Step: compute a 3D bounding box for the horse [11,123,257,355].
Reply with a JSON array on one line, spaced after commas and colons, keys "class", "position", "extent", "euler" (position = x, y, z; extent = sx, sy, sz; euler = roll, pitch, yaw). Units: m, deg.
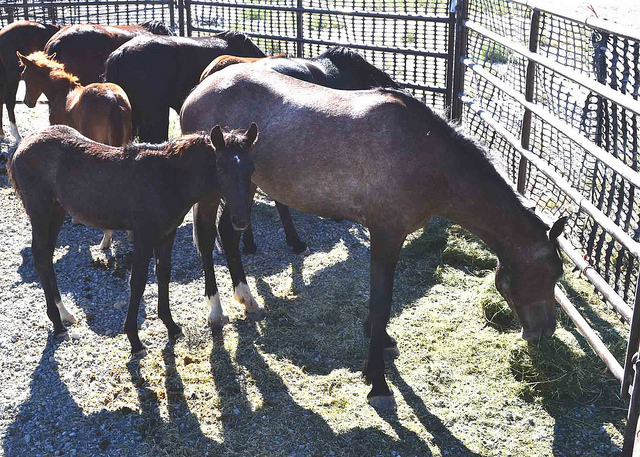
[{"class": "horse", "position": [-1.782, 0.012, 5.863], "extent": [2.455, 2.147, 0.635], "euler": [4, 13, 9]}]

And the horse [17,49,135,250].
[{"class": "horse", "position": [-2.936, -1.137, 7.747], "extent": [2.661, 2.062, 0.729], "euler": [18, 23, 38]}]
